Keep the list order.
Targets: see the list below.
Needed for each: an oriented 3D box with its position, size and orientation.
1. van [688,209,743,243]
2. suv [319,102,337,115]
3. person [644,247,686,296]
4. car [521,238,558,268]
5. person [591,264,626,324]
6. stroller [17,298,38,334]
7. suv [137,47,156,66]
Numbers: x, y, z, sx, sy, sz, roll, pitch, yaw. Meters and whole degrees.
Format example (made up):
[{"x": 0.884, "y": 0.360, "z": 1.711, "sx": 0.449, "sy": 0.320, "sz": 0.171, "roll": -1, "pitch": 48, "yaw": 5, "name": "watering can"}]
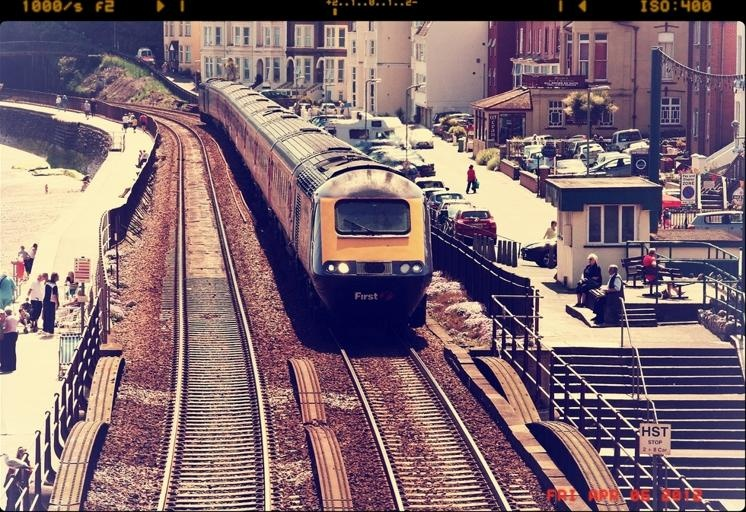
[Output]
[{"x": 14.697, "y": -1.260, "z": 43.852, "sx": 2.840, "sy": 1.259, "sz": 1.553, "roll": -3, "pitch": 10, "yaw": 2, "name": "van"}, {"x": -4.267, "y": -14.338, "z": 99.966, "sx": 1.497, "sy": 1.030, "sz": 3.123, "roll": -1, "pitch": 8, "yaw": -6, "name": "suv"}, {"x": 9.188, "y": 0.579, "z": 32.951, "sx": 1.511, "sy": 1.658, "sz": 0.993, "roll": 2, "pitch": -8, "yaw": -2, "name": "person"}, {"x": 6.804, "y": -0.138, "z": 41.092, "sx": 0.954, "sy": 0.992, "sz": 1.594, "roll": -4, "pitch": 11, "yaw": -21, "name": "car"}, {"x": 7.079, "y": 1.159, "z": 30.834, "sx": 0.837, "sy": 1.845, "sz": 0.478, "roll": 2, "pitch": 11, "yaw": 8, "name": "person"}, {"x": -11.458, "y": 2.009, "z": 34.020, "sx": 0.402, "sy": 0.560, "sz": 1.954, "roll": -2, "pitch": 10, "yaw": -19, "name": "stroller"}, {"x": -30.837, "y": -27.041, "z": 139.851, "sx": 2.231, "sy": 2.245, "sz": 5.567, "roll": -5, "pitch": 14, "yaw": -18, "name": "suv"}]
